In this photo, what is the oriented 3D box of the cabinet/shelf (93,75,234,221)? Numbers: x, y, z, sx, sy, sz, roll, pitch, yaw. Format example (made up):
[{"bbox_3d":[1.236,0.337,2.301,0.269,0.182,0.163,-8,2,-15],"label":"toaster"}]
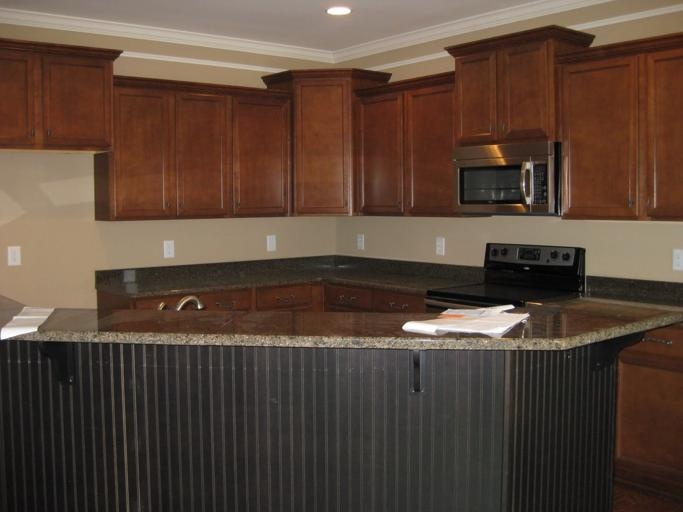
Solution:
[{"bbox_3d":[-1.442,-0.817,4.840,0.491,1.036,1.180,10,13,32],"label":"cabinet/shelf"}]

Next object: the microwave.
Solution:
[{"bbox_3d":[1.227,-0.505,4.349,0.487,0.470,0.802,-5,7,-37],"label":"microwave"}]

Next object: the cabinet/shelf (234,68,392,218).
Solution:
[{"bbox_3d":[-0.133,-0.926,5.681,1.758,1.461,1.081,-1,7,2],"label":"cabinet/shelf"}]

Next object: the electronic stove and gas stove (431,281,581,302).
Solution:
[{"bbox_3d":[1.117,0.266,4.256,0.625,0.080,0.844,-2,3,-43],"label":"electronic stove and gas stove"}]
